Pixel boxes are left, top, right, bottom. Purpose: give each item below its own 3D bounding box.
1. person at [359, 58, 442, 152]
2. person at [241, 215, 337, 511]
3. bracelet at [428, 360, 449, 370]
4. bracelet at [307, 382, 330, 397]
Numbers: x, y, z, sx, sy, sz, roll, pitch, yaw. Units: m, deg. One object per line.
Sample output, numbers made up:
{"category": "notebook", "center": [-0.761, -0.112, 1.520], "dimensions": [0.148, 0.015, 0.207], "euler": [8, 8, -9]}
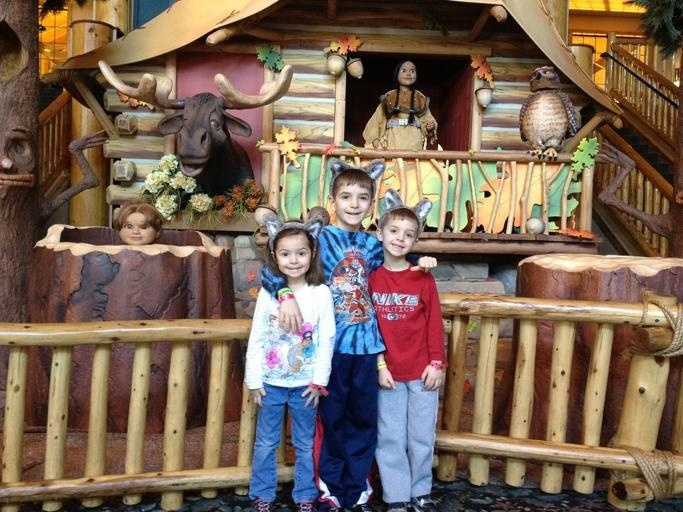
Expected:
{"category": "person", "center": [0.641, -1.667, 9.461], "dimensions": [0.799, 0.935, 0.381], "euler": [1, 4, 3]}
{"category": "person", "center": [-0.342, 0.709, 5.625], "dimensions": [0.583, 1.921, 0.270], "euler": [1, 4, -7]}
{"category": "bracelet", "center": [0.638, 0.724, 5.700], "dimensions": [0.102, 0.049, 0.100], "euler": [8, 15, 18]}
{"category": "bracelet", "center": [-0.161, 0.885, 5.621], "dimensions": [0.110, 0.048, 0.109], "euler": [11, 3, 5]}
